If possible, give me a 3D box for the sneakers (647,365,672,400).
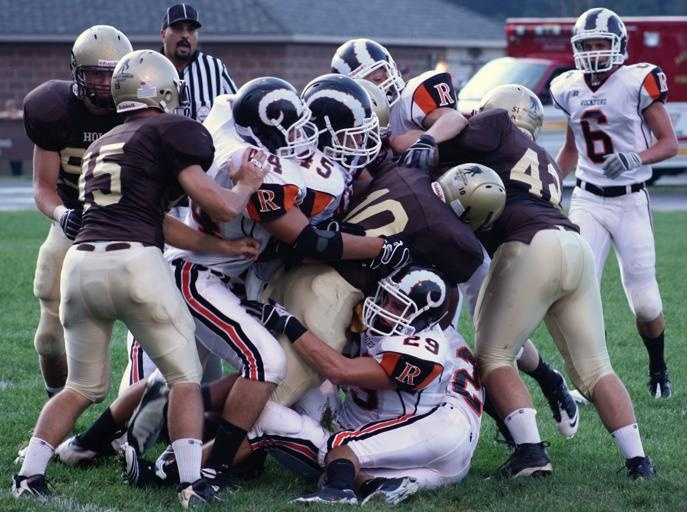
[{"bbox_3d":[1.864,0.768,5.485,0.073,0.250,0.100,-4,-21,22],"label":"sneakers"}]

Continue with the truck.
[{"bbox_3d":[3.089,-2.282,13.771,4.203,2.630,2.098,-3,7,-14],"label":"truck"}]

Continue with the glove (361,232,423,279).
[{"bbox_3d":[0.229,-0.007,4.387,0.148,0.125,0.325,-27,18,-32],"label":"glove"}]

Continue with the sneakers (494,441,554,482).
[{"bbox_3d":[0.884,1.033,4.578,0.350,0.189,0.131,-20,-30,36],"label":"sneakers"}]

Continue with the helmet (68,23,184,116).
[{"bbox_3d":[-1.272,-1.018,4.923,0.324,0.359,0.407,-12,40,-43],"label":"helmet"}]

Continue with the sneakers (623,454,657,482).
[{"bbox_3d":[1.429,1.028,4.495,0.128,0.144,0.095,-18,-2,22],"label":"sneakers"}]

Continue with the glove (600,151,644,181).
[{"bbox_3d":[1.716,-0.574,5.737,0.194,0.108,0.148,-9,-25,-27],"label":"glove"}]

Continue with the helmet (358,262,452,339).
[{"bbox_3d":[0.285,0.222,4.391,0.368,0.315,0.244,-15,-31,-11],"label":"helmet"}]

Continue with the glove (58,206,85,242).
[{"bbox_3d":[-1.359,-0.156,4.666,0.122,0.174,0.118,15,-43,-25],"label":"glove"}]

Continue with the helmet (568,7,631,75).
[{"bbox_3d":[1.692,-1.445,6.174,0.302,0.385,0.435,-2,17,26],"label":"helmet"}]

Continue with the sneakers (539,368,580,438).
[{"bbox_3d":[1.156,0.785,4.943,0.127,0.434,0.162,-24,-29,19],"label":"sneakers"}]

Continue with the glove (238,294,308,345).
[{"bbox_3d":[-0.332,0.289,4.386,0.259,0.101,0.179,32,14,-3],"label":"glove"}]

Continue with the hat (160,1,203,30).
[{"bbox_3d":[-1.080,-1.565,6.072,0.158,0.142,0.223,1,1,-23],"label":"hat"}]
